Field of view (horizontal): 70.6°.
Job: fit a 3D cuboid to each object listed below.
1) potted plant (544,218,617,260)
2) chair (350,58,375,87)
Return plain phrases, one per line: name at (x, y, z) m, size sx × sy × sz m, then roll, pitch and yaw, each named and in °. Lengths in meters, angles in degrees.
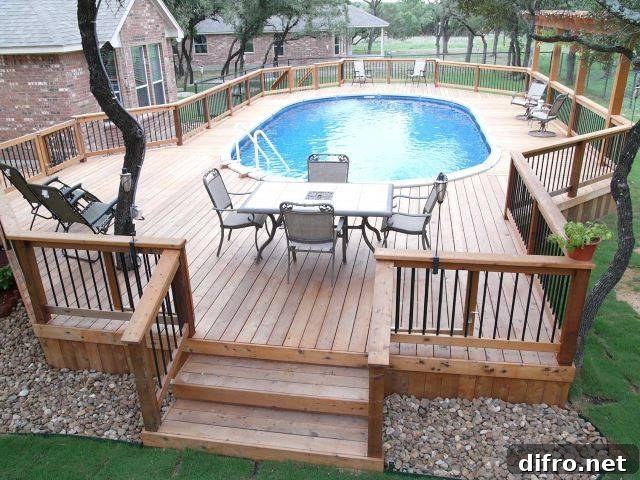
potted plant at (2.545, 0.034, 4.289) m, size 0.504 × 0.285 × 0.463 m, roll -11°, pitch 24°, yaw -7°
chair at (1.906, -7.488, 20.107) m, size 0.897 × 0.974 × 1.074 m, roll 9°, pitch 29°, yaw 15°
